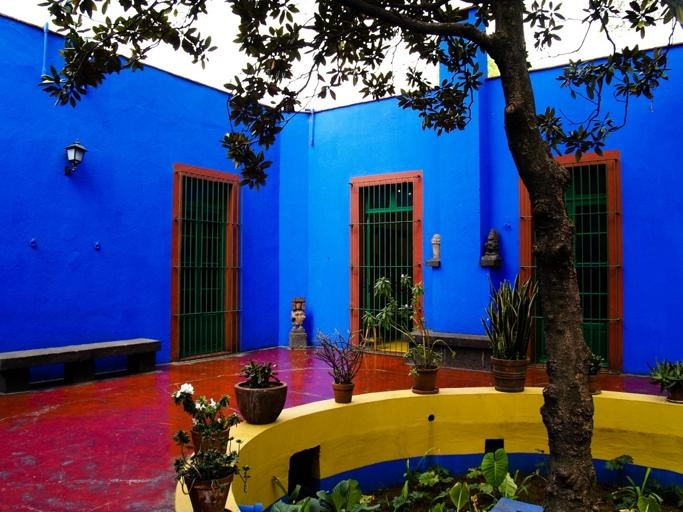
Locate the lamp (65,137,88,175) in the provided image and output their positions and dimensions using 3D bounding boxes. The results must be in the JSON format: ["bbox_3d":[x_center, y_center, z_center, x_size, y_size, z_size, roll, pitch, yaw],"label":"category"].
[{"bbox_3d":[-3.553,-1.309,7.055,0.293,0.446,0.216,-9,-9,21],"label":"lamp"}]

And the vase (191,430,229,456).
[{"bbox_3d":[-0.973,1.339,3.845,0.258,0.180,0.270,-3,-10,21],"label":"vase"}]

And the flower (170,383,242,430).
[{"bbox_3d":[-1.024,1.135,4.046,0.487,0.351,0.559,-16,-22,19],"label":"flower"}]

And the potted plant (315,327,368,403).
[{"bbox_3d":[0.056,1.127,5.323,0.474,0.666,0.549,-8,-21,43],"label":"potted plant"}]

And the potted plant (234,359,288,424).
[{"bbox_3d":[-0.718,1.187,4.708,0.434,0.548,0.488,-1,-3,19],"label":"potted plant"}]

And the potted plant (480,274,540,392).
[{"bbox_3d":[1.753,0.798,5.608,0.504,1.164,0.439,4,3,20],"label":"potted plant"}]
